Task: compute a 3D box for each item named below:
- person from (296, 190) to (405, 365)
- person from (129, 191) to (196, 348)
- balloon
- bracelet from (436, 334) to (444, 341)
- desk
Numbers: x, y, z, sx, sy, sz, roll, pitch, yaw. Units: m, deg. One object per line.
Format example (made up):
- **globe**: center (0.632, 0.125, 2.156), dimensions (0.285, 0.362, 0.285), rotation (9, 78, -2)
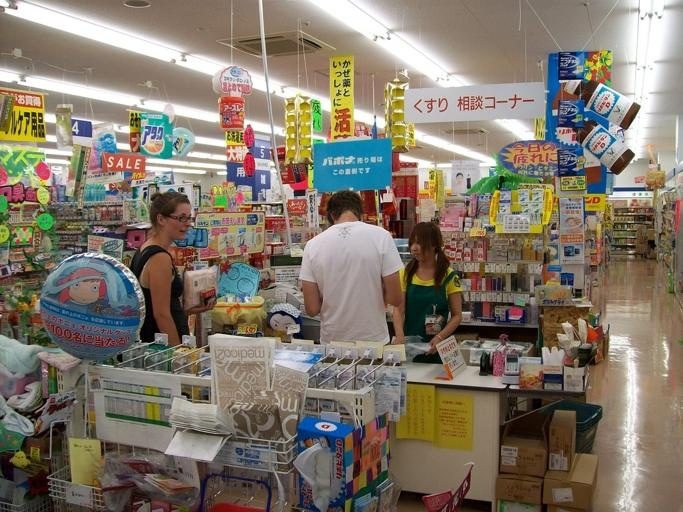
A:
- **person**: center (0.057, 0.075, 3.457), dimensions (0.670, 1.011, 0.254), rotation (1, 0, -10)
- **person**: center (-1.213, 0.078, 3.417), dimensions (0.375, 1.002, 0.489), rotation (1, 0, -12)
- **balloon**: center (-1.208, 0.256, 2.481), dimensions (0.442, 0.520, 0.205), rotation (1, 0, 14)
- **bracelet**: center (0.712, 0.595, 3.783), dimensions (0.060, 0.022, 0.046), rotation (-26, 16, -3)
- **desk**: center (0.750, 1.193, 3.581), dimensions (0.684, 0.677, 0.579), rotation (1, -8, 24)
